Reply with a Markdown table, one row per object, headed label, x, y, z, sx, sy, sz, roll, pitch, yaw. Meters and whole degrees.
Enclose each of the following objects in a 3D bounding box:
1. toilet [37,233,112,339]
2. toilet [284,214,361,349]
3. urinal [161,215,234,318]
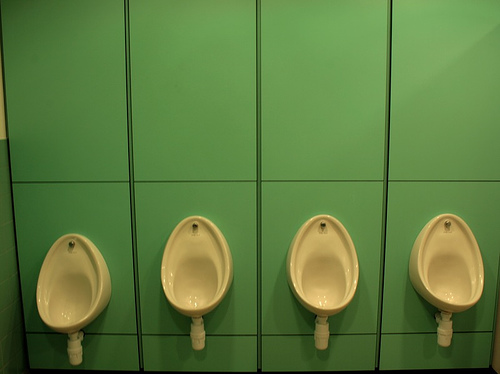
| label | x | y | z | sx | sy | sz | roll | pitch | yaw |
| --- | --- | --- | --- | --- | --- | --- | --- | --- | --- |
| toilet | -1.188 | 0.744 | 2.853 | 0.412 | 0.598 | 0.594 | 4 | -58 | -6 |
| toilet | 0.488 | 0.685 | 2.816 | 0.465 | 0.467 | 0.860 | -2 | -79 | -14 |
| urinal | -0.355 | 0.494 | 2.881 | 0.405 | 0.444 | 0.714 | 0 | -73 | -6 |
